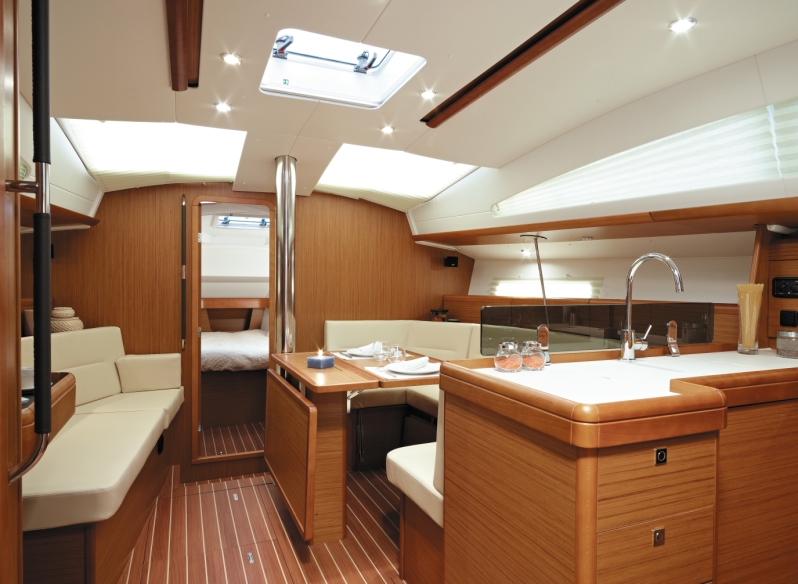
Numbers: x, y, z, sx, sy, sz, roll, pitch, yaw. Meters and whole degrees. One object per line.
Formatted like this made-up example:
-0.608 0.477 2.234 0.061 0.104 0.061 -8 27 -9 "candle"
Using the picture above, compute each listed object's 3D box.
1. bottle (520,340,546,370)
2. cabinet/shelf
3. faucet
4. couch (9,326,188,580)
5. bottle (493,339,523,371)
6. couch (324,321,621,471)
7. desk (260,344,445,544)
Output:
0.578 0.263 2.325 0.116 0.119 0.116 1 -8 -2 "bottle"
0.749 0.628 2.120 0.973 0.941 0.770 2 -6 -22 "cabinet/shelf"
1.120 0.064 2.456 0.243 0.475 0.253 5 6 27 "faucet"
-1.444 0.796 2.657 0.376 0.562 1.144 1 3 -19 "couch"
0.438 0.264 2.276 0.116 0.125 0.115 1 -5 0 "bottle"
0.040 0.688 4.254 1.236 0.765 1.167 3 -5 -28 "couch"
-0.308 0.789 3.246 0.874 0.828 1.229 1 0 -21 "desk"
